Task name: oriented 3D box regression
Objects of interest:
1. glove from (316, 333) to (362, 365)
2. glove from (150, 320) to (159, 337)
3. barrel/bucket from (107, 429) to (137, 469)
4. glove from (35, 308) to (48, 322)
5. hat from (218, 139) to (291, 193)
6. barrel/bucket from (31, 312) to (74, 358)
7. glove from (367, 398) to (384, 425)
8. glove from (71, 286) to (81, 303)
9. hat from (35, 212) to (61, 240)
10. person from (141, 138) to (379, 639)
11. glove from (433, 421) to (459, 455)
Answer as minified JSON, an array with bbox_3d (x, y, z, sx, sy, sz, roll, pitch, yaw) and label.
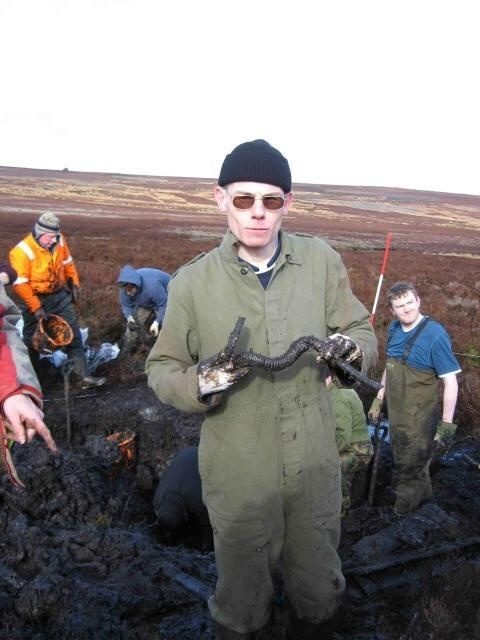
[{"bbox_3d":[0.444,0.126,2.172,0.119,0.072,0.155,-7,4,11],"label":"glove"},{"bbox_3d":[-1.368,0.145,7.940,0.092,0.263,0.193,-3,-2,-32],"label":"glove"},{"bbox_3d":[-1.315,1.442,5.565,0.327,0.376,0.322,-1,22,0],"label":"barrel/bucket"},{"bbox_3d":[-2.669,-0.049,6.622,0.136,0.189,0.219,11,16,-11],"label":"glove"},{"bbox_3d":[0.093,-0.779,2.461,0.362,0.256,0.347,5,3,-17],"label":"hat"},{"bbox_3d":[-2.562,0.137,6.851,0.357,0.402,0.412,-1,59,-5],"label":"barrel/bucket"},{"bbox_3d":[1.325,0.890,4.755,0.144,0.265,0.082,30,10,34],"label":"glove"},{"bbox_3d":[-2.605,-0.413,7.892,0.167,0.229,0.086,-2,4,7],"label":"glove"},{"bbox_3d":[-2.657,-1.308,6.766,0.352,0.326,0.270,-12,25,-25],"label":"hat"},{"bbox_3d":[0.125,0.680,2.700,1.158,3.130,0.877,-6,23,-13],"label":"person"},{"bbox_3d":[1.726,1.005,4.173,0.141,0.293,0.141,10,25,23],"label":"glove"}]
